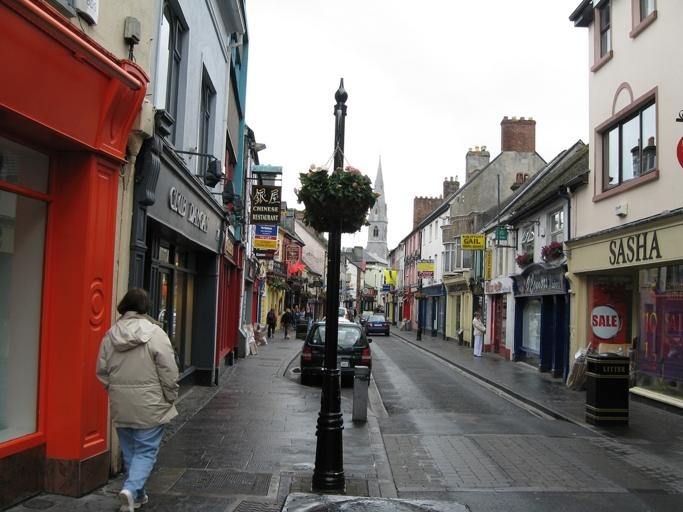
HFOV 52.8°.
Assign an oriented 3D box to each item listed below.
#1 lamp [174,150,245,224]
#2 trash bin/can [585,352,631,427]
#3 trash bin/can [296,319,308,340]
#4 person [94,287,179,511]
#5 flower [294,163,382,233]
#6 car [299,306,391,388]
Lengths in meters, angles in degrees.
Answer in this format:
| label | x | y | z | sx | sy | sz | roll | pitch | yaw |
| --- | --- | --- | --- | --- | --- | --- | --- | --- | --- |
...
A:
| label | x | y | z | sx | sy | sz | roll | pitch | yaw |
| --- | --- | --- | --- | --- | --- | --- | --- | --- | --- |
| lamp | -2.731 | -1.570 | 14.877 | 0.898 | 0.607 | 2.410 | 5 | -20 | 5 |
| trash bin/can | 4.927 | 2.504 | 12.781 | 0.774 | 1.312 | 0.423 | -3 | -8 | 22 |
| trash bin/can | -2.075 | 3.861 | 35.575 | 0.673 | 1.482 | 0.751 | 1 | -2 | 2 |
| person | -2.374 | 1.664 | 8.004 | 0.905 | 2.550 | 0.467 | 3 | -8 | -18 |
| flower | -0.004 | -0.578 | 9.439 | 1.128 | 0.989 | 1.176 | 6 | 9 | 17 |
| car | -0.148 | 2.324 | 16.398 | 1.616 | 1.568 | 1.505 | 1 | -9 | 0 |
